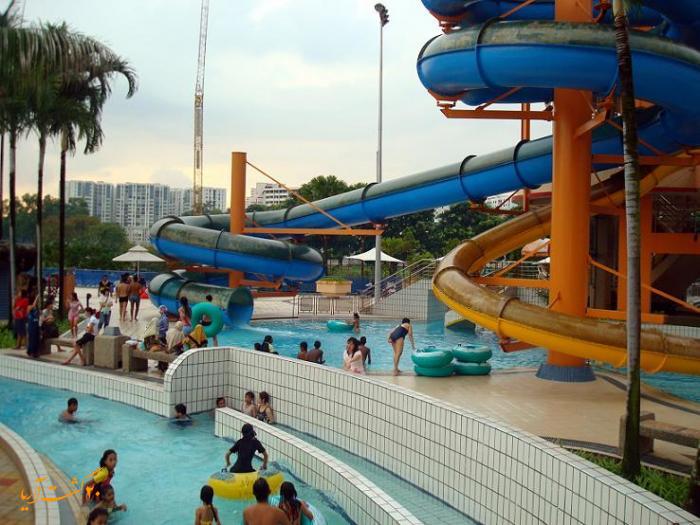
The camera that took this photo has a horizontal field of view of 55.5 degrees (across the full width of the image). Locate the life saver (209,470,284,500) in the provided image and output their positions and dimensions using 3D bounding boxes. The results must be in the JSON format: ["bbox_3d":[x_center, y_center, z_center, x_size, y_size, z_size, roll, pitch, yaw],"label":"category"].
[{"bbox_3d":[-1.433,3.043,9.099,1.033,0.283,0.398,2,-1,-10],"label":"life saver"}]

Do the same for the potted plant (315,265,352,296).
[{"bbox_3d":[-0.783,1.059,34.896,1.503,0.908,1.417,0,-2,15],"label":"potted plant"}]
